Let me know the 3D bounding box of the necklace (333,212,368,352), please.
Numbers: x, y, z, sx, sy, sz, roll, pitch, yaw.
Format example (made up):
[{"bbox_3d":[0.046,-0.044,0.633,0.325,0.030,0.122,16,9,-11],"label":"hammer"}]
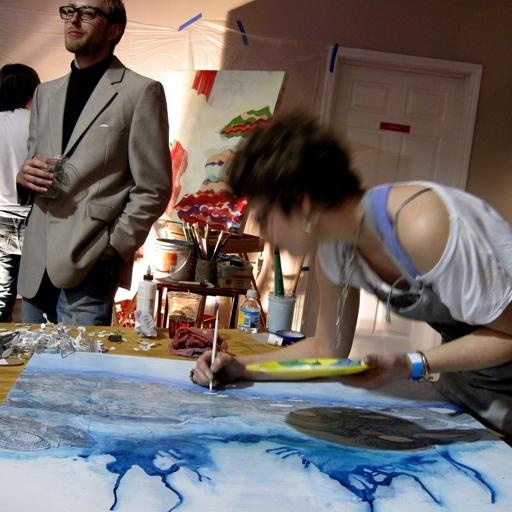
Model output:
[{"bbox_3d":[0.259,0.098,1.053,0.049,0.306,0.007,2,12,-9],"label":"necklace"}]

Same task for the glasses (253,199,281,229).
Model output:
[{"bbox_3d":[0.015,-0.091,0.775,0.034,0.049,0.056,3,4,29],"label":"glasses"}]

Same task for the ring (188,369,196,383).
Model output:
[{"bbox_3d":[-0.167,0.306,0.941,0.022,0.036,0.011,-10,-20,37],"label":"ring"}]

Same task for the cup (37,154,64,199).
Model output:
[{"bbox_3d":[-0.811,-0.309,1.453,0.074,0.151,0.139,7,3,-29],"label":"cup"}]

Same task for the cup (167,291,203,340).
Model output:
[{"bbox_3d":[-0.256,0.218,1.338,0.149,0.147,0.136,5,-10,1],"label":"cup"}]

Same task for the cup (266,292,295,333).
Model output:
[{"bbox_3d":[0.104,0.221,1.456,0.110,0.148,0.115,2,9,0],"label":"cup"}]

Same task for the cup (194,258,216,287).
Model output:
[{"bbox_3d":[-0.337,0.112,2.384,0.180,0.170,0.164,4,-3,0],"label":"cup"}]
